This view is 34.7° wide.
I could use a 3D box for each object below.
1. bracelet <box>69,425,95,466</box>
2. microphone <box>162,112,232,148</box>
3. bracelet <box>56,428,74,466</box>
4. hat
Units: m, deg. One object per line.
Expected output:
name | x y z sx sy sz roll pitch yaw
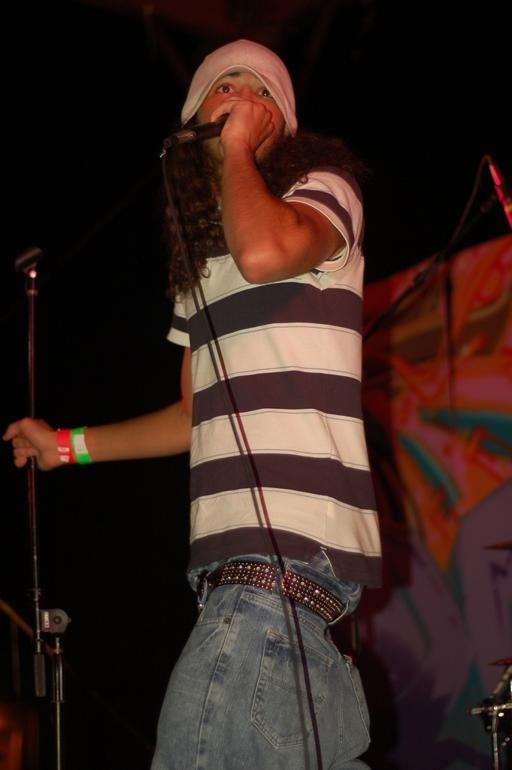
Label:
bracelet | -0.363 0.132 1.737 0.027 0.068 0.052 -6 3 -23
microphone | -0.091 -0.398 1.266 0.167 0.026 0.039 -35 -18 -53
bracelet | -0.398 0.138 1.760 0.049 0.064 0.023 -1 1 28
hat | -0.027 -0.519 1.523 0.164 0.128 0.206 -1 -7 1
